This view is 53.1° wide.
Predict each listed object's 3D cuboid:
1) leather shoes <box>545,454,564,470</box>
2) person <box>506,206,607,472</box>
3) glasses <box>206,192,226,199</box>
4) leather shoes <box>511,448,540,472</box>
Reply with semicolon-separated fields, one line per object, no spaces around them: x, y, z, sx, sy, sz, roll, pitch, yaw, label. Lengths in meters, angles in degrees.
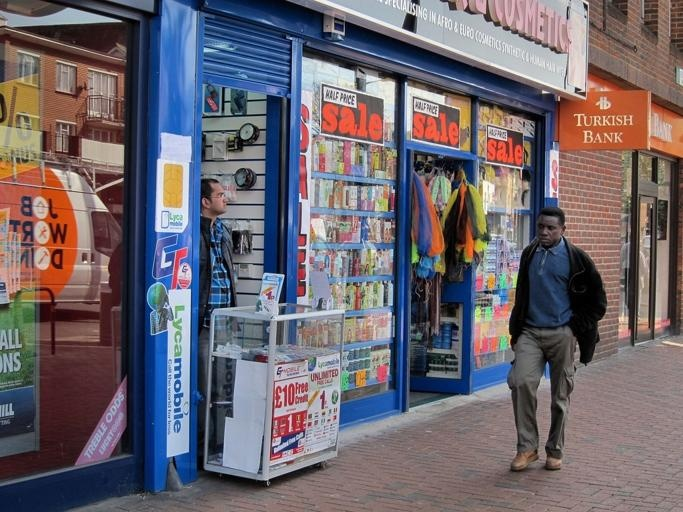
1.930;1.847;6.129;0.078;0.077;0.181;27;-43;-37;leather shoes
1.936;0.858;6.185;0.828;2.107;0.521;0;1;12;person
-1.097;-0.529;6.071;0.166;0.061;0.064;-2;2;-40;glasses
1.676;1.834;6.159;0.118;0.167;0.370;-6;-6;37;leather shoes
